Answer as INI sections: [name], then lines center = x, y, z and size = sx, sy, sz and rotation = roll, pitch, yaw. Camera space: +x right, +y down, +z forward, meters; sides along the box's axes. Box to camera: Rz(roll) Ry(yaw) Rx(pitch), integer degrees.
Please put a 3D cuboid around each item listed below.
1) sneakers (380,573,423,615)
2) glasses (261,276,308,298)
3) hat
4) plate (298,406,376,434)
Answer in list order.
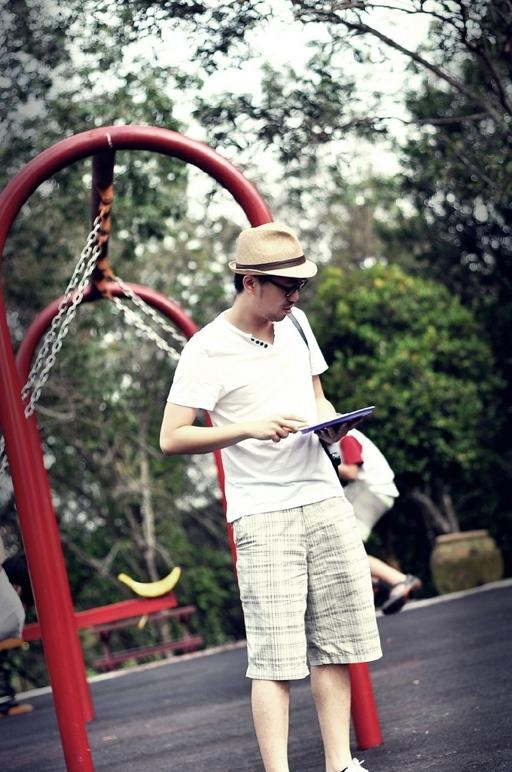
[sneakers]
center = 1.242, 1.785, 7.642
size = 0.212, 0.219, 0.595
rotation = 16, -37, -22
[glasses]
center = 0.084, -0.308, 2.676
size = 0.092, 0.026, 0.077
rotation = 11, 8, 26
[hat]
center = 0.054, -0.423, 2.753
size = 0.269, 0.161, 0.321
rotation = -25, 26, -39
[plate]
center = 0.250, 0.109, 2.735
size = 0.226, 0.076, 0.333
rotation = -9, 0, 3
